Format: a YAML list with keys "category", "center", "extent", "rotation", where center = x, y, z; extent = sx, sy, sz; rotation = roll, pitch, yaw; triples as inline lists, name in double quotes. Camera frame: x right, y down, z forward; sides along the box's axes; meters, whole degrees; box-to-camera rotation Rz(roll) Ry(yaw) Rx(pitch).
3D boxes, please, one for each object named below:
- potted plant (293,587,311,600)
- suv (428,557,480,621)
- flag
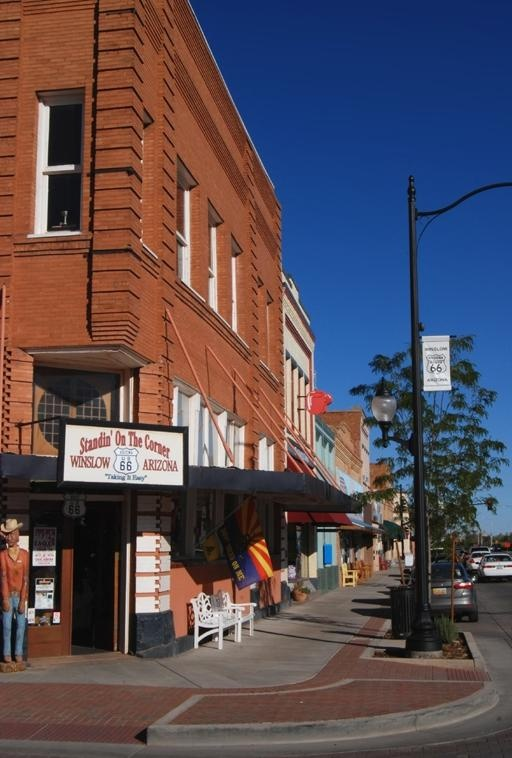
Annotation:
- category: "potted plant"
  center: [1.339, 6.581, 26.637]
  extent: [0.450, 0.433, 0.756]
  rotation: [-5, -12, 5]
- category: "suv"
  center: [4.316, 4.741, 18.858]
  extent: [1.158, 1.019, 2.686]
  rotation: [0, -3, 11]
- category: "flag"
  center: [-0.207, 2.798, 14.744]
  extent: [0.846, 1.451, 0.583]
  rotation: [-3, -11, 0]
